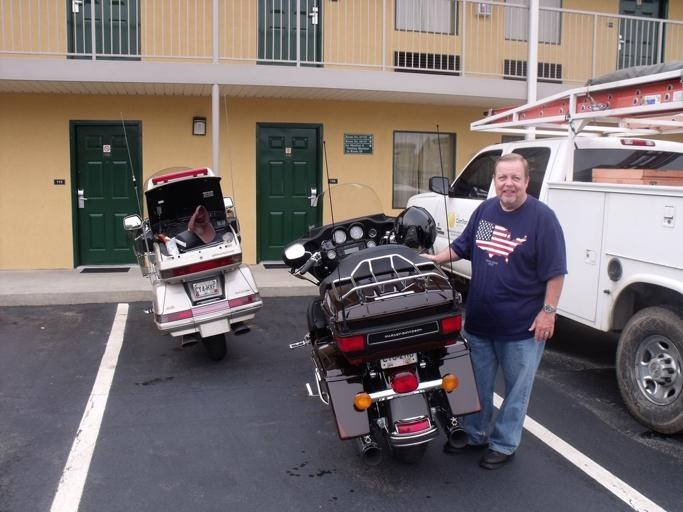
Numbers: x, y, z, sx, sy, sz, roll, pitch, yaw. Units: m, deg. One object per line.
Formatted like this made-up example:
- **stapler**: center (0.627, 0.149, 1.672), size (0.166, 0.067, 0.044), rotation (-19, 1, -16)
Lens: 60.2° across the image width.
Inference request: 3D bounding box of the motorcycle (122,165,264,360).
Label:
- **motorcycle**: center (-1.618, 0.107, 6.339), size (1.158, 2.054, 1.294), rotation (-7, 14, -30)

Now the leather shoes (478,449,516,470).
- **leather shoes**: center (1.181, 1.536, 4.462), size (0.251, 0.125, 0.104), rotation (2, 1, -24)

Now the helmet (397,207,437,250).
- **helmet**: center (0.616, -0.189, 4.895), size (0.255, 0.370, 0.339), rotation (7, -1, 8)

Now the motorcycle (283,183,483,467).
- **motorcycle**: center (0.325, 0.655, 4.464), size (1.071, 1.816, 1.362), rotation (-4, 13, -19)

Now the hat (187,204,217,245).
- **hat**: center (-1.505, -0.274, 6.245), size (0.261, 0.411, 0.198), rotation (-14, -16, -34)
